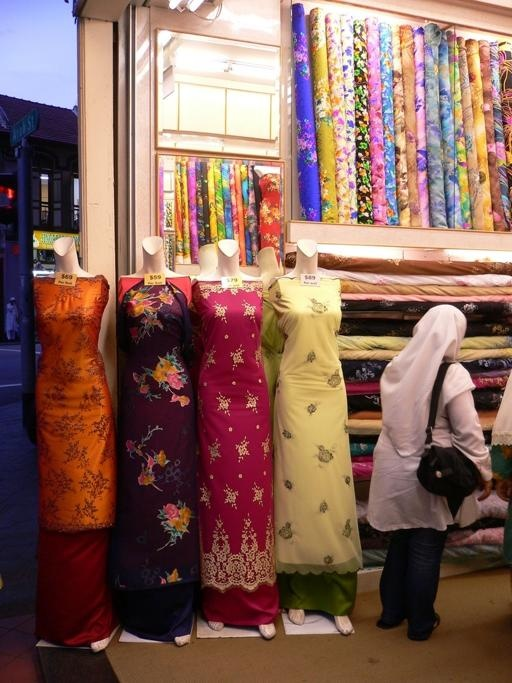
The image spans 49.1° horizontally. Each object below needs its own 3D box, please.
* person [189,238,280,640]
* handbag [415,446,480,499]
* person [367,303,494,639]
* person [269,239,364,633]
[{"bbox_3d":[-0.088,0.350,2.215,0.363,1.522,0.276,1,0,-2],"label":"person"},{"bbox_3d":[0.653,0.443,1.905,0.193,0.185,0.108,-1,-11,-26],"label":"handbag"},{"bbox_3d":[0.652,0.496,2.083,0.316,1.241,0.435,1,0,-34],"label":"person"},{"bbox_3d":[0.239,0.254,2.282,0.383,1.492,0.232,1,0,-1],"label":"person"}]
